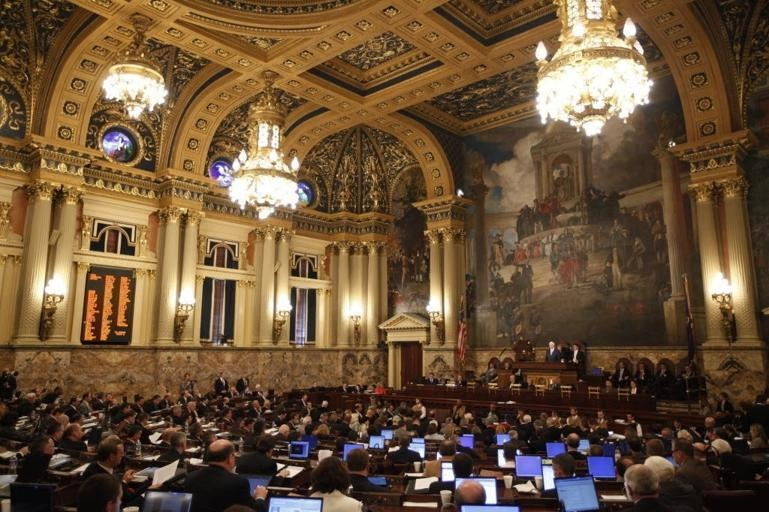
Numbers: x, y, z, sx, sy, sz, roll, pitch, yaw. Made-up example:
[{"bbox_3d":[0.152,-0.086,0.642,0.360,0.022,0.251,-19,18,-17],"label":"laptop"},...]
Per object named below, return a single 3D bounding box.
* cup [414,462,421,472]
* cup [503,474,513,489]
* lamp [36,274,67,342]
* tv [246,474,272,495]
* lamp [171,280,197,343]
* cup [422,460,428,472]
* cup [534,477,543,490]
[{"bbox_3d":[0.649,4.145,11.446,0.154,0.133,0.155,0,-11,0],"label":"cup"},{"bbox_3d":[2.221,4.112,10.613,0.211,0.196,0.193,2,-5,0],"label":"cup"},{"bbox_3d":[-11.544,1.824,20.249,0.704,2.175,0.534,2,-14,-14],"label":"lamp"},{"bbox_3d":[-2.118,3.863,9.844,0.412,0.265,0.619,0,-14,-9],"label":"tv"},{"bbox_3d":[-8.039,2.342,23.340,0.677,2.230,0.396,4,-15,-23],"label":"lamp"},{"bbox_3d":[0.783,4.155,11.485,0.156,0.160,0.166,0,-17,0],"label":"cup"},{"bbox_3d":[2.798,4.160,10.645,0.179,0.126,0.161,0,-6,4],"label":"cup"}]
